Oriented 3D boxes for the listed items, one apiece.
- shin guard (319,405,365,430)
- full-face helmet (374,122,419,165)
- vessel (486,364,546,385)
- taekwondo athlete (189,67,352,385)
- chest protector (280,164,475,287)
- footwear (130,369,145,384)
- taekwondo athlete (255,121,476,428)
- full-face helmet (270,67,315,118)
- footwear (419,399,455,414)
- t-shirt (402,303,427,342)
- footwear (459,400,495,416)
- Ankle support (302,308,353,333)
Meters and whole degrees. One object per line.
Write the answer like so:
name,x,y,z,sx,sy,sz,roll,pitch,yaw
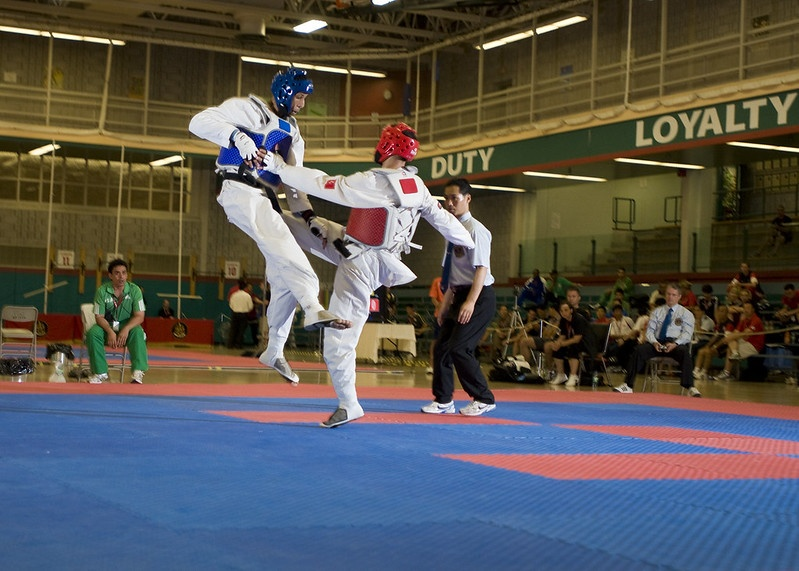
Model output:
shin guard,-0.406,0.976,5.924,0.373,0.149,0.124,-21,5,-32
full-face helmet,-0.030,-1.117,6.240,0.343,0.350,0.279,5,0,17
vessel,1.971,1.514,13.135,0.661,0.230,0.407,4,-1,-8
taekwondo athlete,-1.034,-0.511,6.250,1.554,2.482,0.765,2,-2,-20
chest protector,-0.134,-0.496,6.156,1.483,0.829,0.594,3,0,-35
footwear,-3.055,1.084,9.270,0.184,0.186,0.173,-8,-11,25
taekwondo athlete,-0.379,-0.072,6.272,1.955,2.310,0.875,7,-5,-4
full-face helmet,-0.926,-1.598,6.627,0.409,0.445,0.336,-7,1,-5
footwear,0.367,1.128,7.357,0.331,0.142,0.119,4,-6,-13
t-shirt,0.535,1.018,21.475,0.351,0.962,0.568,15,45,43
footwear,0.725,1.139,7.342,0.360,0.160,0.128,3,-5,-19
Ankle support,-0.534,0.261,5.739,0.375,0.172,0.142,2,-41,24
